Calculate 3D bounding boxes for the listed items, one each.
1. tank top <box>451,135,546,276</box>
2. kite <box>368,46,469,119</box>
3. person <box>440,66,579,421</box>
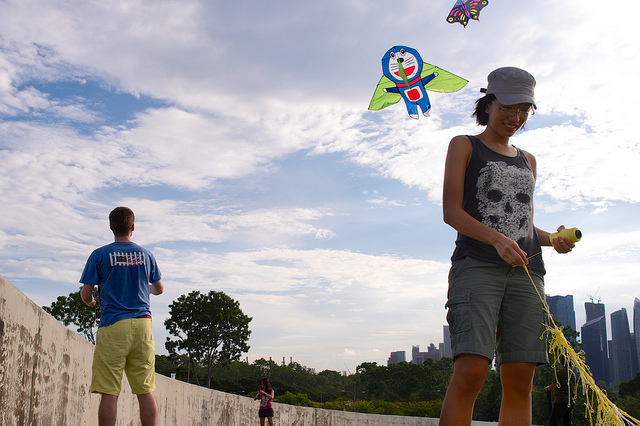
[{"bbox_3d":[1.234,-0.060,3.320,0.615,0.877,0.166,9,-17,-20],"label":"tank top"},{"bbox_3d":[0.947,-1.440,4.949,0.846,0.974,0.564,-6,-18,29],"label":"kite"},{"bbox_3d":[1.199,0.156,3.207,0.803,2.234,0.582,15,-20,-35],"label":"person"}]
